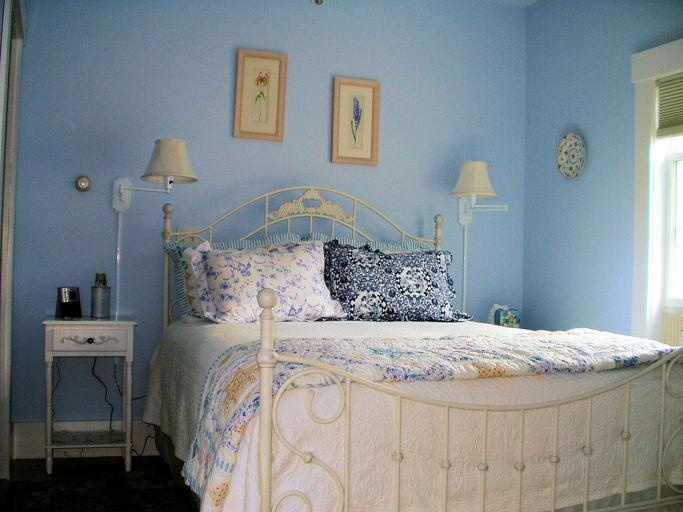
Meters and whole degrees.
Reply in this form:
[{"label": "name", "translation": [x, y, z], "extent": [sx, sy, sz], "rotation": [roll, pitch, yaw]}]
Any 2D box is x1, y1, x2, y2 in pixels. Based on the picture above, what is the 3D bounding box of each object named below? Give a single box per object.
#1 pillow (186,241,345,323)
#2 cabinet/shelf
[{"label": "pillow", "translation": [-0.422, 0.142, 3.481], "extent": [0.523, 0.544, 0.173], "rotation": [-1, -41, -16]}, {"label": "cabinet/shelf", "translation": [-1.422, 0.761, 3.634], "extent": [0.451, 0.873, 0.385], "rotation": [2, 0, -23]}]
